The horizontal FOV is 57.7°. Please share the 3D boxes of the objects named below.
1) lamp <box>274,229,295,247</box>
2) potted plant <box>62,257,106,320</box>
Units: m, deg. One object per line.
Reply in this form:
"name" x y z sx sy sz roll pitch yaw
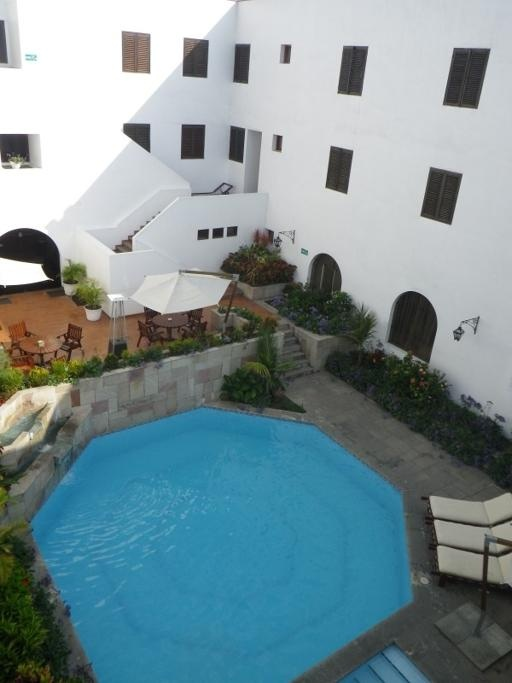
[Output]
"lamp" 1.213 -4.900 21.633 0.387 0.742 1.324 -9 35 -23
"potted plant" -6.864 -2.081 18.738 0.918 1.340 2.774 -14 51 -33
